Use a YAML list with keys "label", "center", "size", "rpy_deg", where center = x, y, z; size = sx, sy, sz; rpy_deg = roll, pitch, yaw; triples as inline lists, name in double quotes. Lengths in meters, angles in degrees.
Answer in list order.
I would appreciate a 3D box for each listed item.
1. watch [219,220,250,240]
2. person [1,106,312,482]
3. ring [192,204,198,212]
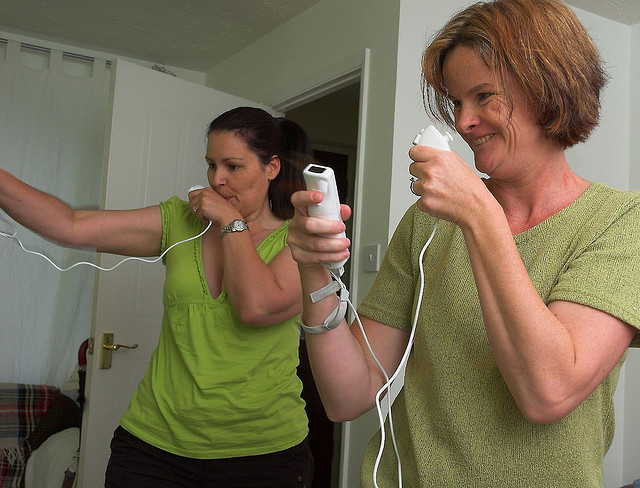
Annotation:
- label: "watch"
  center: [-0.229, -0.044, 1.452]
  size: [0.066, 0.041, 0.057]
  rpy_deg: [14, -28, -22]
- label: "person"
  center: [-0.367, 0.106, 1.473]
  size: [0.713, 0.999, 0.323]
  rpy_deg: [2, 1, -6]
- label: "ring"
  center: [-0.346, -0.099, 1.495]
  size: [0.013, 0.019, 0.006]
  rpy_deg: [12, 11, 13]
